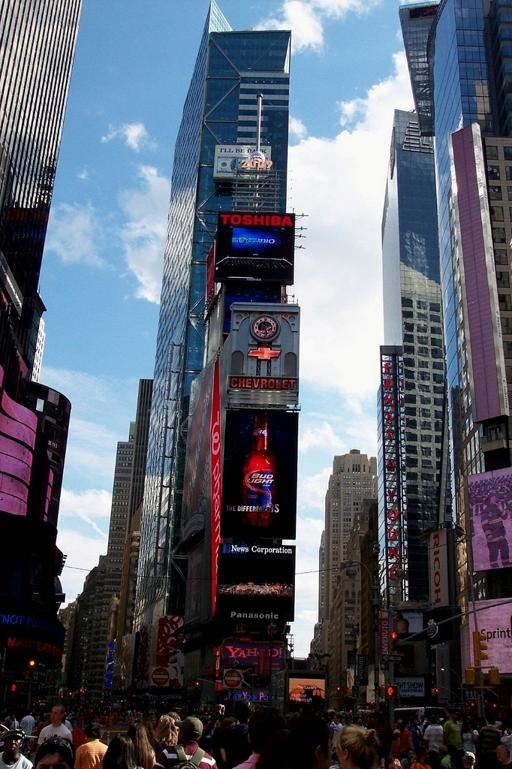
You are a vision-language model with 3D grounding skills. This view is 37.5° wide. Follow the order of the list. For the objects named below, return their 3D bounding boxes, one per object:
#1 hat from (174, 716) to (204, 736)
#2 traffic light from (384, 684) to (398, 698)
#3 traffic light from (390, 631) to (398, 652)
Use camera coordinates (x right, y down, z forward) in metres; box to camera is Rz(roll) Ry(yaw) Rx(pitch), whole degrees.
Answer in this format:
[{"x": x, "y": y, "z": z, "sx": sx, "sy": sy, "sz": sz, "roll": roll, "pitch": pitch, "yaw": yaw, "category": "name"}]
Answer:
[{"x": -0.802, "y": 4.236, "z": 9.346, "sx": 0.252, "sy": 0.227, "sz": 0.670, "roll": 5, "pitch": -17, "yaw": -5, "category": "hat"}, {"x": 6.434, "y": 14.498, "z": 35.829, "sx": 0.579, "sy": 0.599, "sz": 0.557, "roll": 1, "pitch": -16, "yaw": -5, "category": "traffic light"}, {"x": 7.070, "y": 13.190, "z": 38.656, "sx": 0.382, "sy": 0.950, "sz": 0.862, "roll": 0, "pitch": -17, "yaw": 10, "category": "traffic light"}]
